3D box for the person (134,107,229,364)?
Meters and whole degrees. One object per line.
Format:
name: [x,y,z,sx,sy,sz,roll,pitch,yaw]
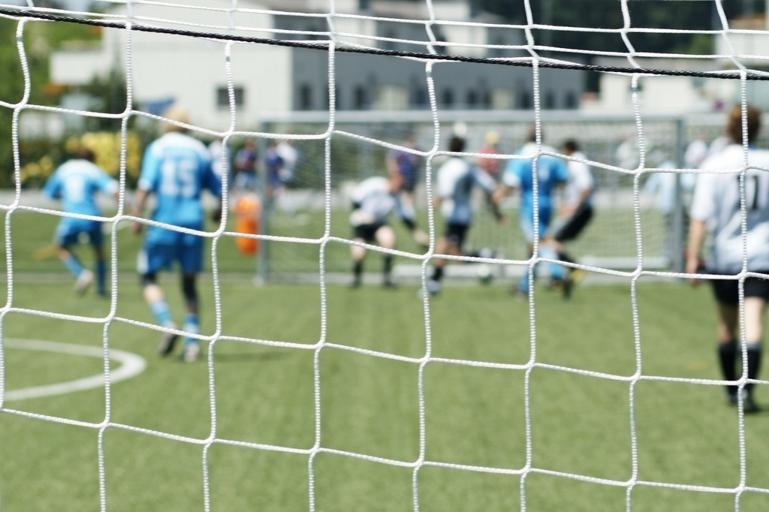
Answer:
person: [-2.055,-0.196,14.328,0.837,2.484,0.952,2,7,-7]
